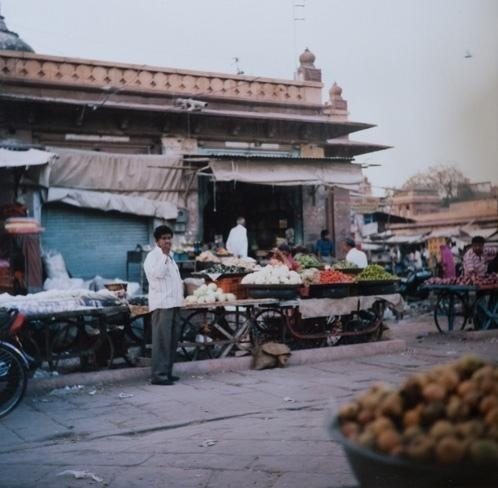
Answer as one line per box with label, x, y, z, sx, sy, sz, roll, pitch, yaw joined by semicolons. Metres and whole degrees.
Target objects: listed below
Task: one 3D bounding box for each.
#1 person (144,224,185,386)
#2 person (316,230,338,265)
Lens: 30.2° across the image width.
person;-1.095;0.798;11.875;0.490;2.020;0.335;0;-3;-10
person;1.652;0.159;19.653;0.389;0.986;0.254;-2;29;1
